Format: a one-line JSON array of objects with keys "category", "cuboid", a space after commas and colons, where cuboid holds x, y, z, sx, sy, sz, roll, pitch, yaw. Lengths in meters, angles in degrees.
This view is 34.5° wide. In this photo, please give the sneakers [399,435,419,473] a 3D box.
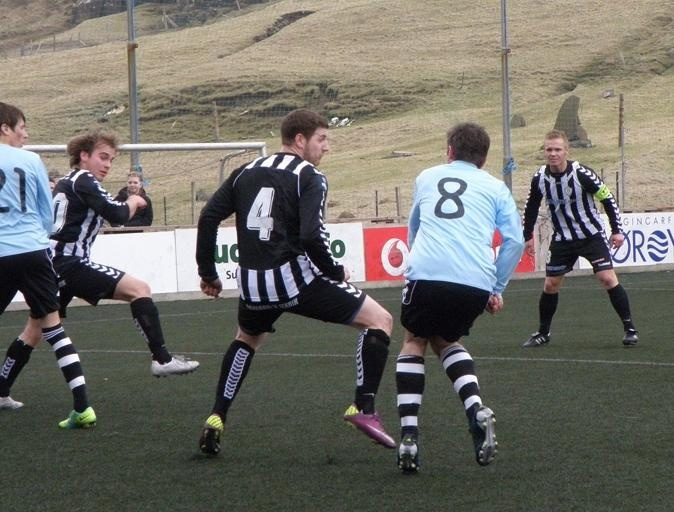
[{"category": "sneakers", "cuboid": [0.510, 1.424, 7.837, 0.111, 0.292, 0.166, 1, 15, 3]}]

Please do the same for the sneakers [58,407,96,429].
[{"category": "sneakers", "cuboid": [-2.079, 1.331, 8.923, 0.359, 0.182, 0.130, -2, -1, 11]}]

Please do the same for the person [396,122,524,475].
[{"category": "person", "cuboid": [0.860, 0.281, 7.964, 0.925, 2.458, 1.115, 1, 10, 15]}]

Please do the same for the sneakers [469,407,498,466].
[{"category": "sneakers", "cuboid": [1.026, 1.285, 7.646, 0.169, 0.468, 0.229, -3, 10, -4]}]

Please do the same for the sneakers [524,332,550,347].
[{"category": "sneakers", "cuboid": [2.120, 0.905, 11.698, 0.327, 0.124, 0.117, 0, -2, -37]}]

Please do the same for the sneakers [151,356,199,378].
[{"category": "sneakers", "cuboid": [-1.287, 0.902, 9.092, 0.430, 0.180, 0.157, -6, 3, -1]}]

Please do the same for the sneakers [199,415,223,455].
[{"category": "sneakers", "cuboid": [-0.907, 1.354, 8.166, 0.176, 0.327, 0.170, -1, 10, 6]}]

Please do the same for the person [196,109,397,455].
[{"category": "person", "cuboid": [-0.309, 0.199, 8.121, 1.436, 2.515, 0.929, -2, 10, 1]}]

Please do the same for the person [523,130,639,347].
[{"category": "person", "cuboid": [2.508, -0.188, 11.513, 1.061, 2.275, 0.472, -1, 10, 8]}]

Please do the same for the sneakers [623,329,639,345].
[{"category": "sneakers", "cuboid": [3.018, 0.852, 11.358, 0.132, 0.166, 0.134, 3, 11, 25]}]
